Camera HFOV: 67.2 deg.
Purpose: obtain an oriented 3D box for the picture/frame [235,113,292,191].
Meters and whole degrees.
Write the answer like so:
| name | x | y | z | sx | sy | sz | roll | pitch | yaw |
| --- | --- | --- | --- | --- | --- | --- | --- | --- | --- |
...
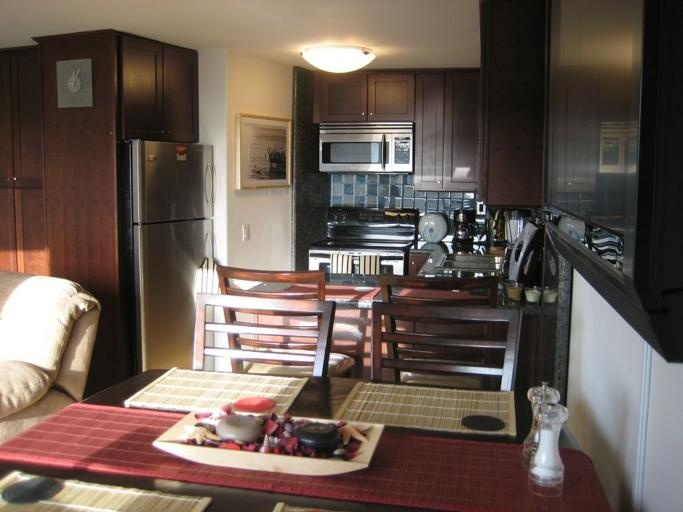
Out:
| name | x | y | z | sx | sy | sz | roll | pitch | yaw |
| --- | --- | --- | --- | --- | --- | --- | --- | --- | --- |
| picture/frame | -0.690 | -0.929 | 4.703 | 0.048 | 0.639 | 0.842 | 8 | 13 | 26 |

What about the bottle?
| name | x | y | z | sx | sy | sz | roll | pitch | yaw |
| --- | --- | --- | --- | --- | --- | --- | --- | --- | --- |
| bottle | 0.443 | 0.366 | 1.106 | 0.087 | 0.222 | 0.184 | 4 | 9 | 24 |

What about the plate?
| name | x | y | z | sx | sy | sz | roll | pitch | yaw |
| --- | --- | --- | --- | --- | --- | --- | --- | --- | --- |
| plate | -0.171 | 0.440 | 1.154 | 0.392 | 0.056 | 0.191 | 2 | 7 | 12 |

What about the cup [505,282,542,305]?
| name | x | y | z | sx | sy | sz | roll | pitch | yaw |
| --- | --- | --- | --- | --- | --- | --- | --- | --- | --- |
| cup | 0.929 | 0.186 | 2.591 | 0.091 | 0.063 | 0.143 | -2 | 5 | -33 |

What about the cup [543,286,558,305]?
| name | x | y | z | sx | sy | sz | roll | pitch | yaw |
| --- | --- | --- | --- | --- | --- | --- | --- | --- | --- |
| cup | 0.845 | 0.159 | 2.071 | 0.056 | 0.041 | 0.058 | 0 | 13 | 0 |
